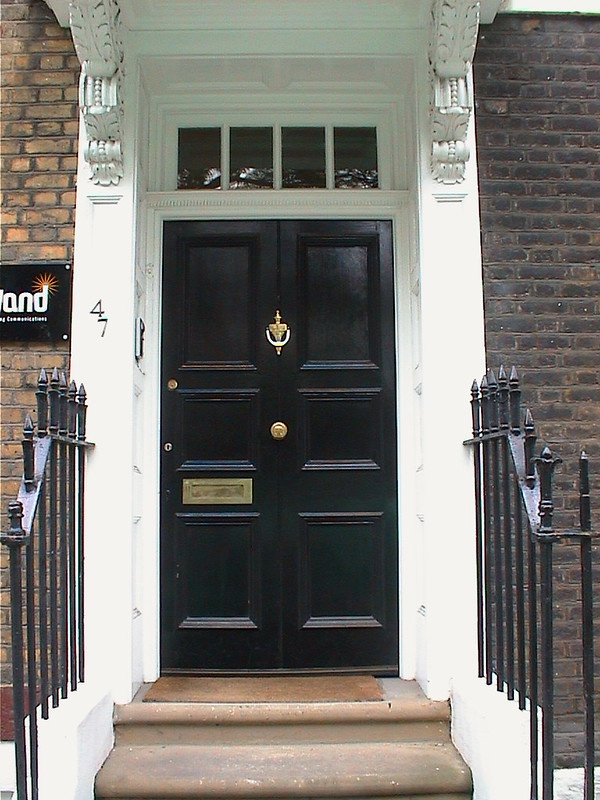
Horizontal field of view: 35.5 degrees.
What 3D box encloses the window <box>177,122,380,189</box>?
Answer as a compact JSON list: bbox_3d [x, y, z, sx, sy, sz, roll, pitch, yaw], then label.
[{"bbox_3d":[-0.105,-1.161,4.490,0.962,0.343,0.032,-1,28,-2],"label":"window"}]
